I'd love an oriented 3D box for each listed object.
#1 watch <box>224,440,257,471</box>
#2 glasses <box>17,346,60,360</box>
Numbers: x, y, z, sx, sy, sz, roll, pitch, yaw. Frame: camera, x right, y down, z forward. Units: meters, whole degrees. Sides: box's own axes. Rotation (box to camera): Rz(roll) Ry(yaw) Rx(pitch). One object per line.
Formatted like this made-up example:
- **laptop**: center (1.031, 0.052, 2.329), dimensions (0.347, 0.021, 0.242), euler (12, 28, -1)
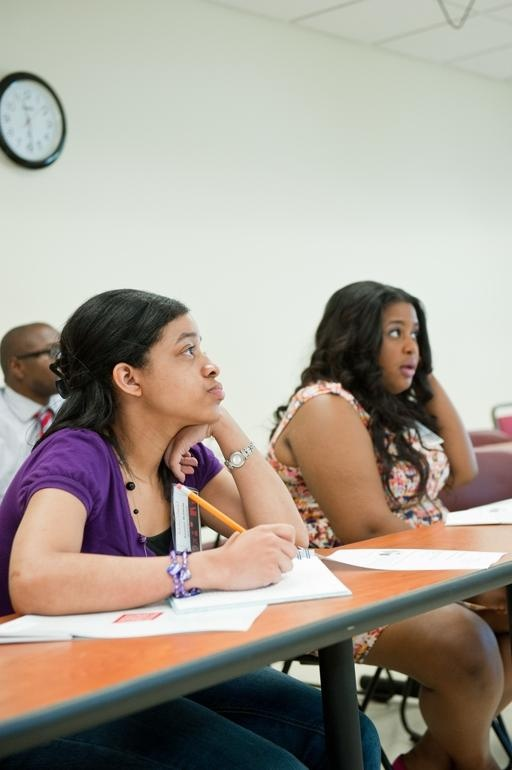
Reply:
- **watch**: center (-0.030, 0.150, 1.378), dimensions (0.064, 0.039, 0.060), euler (-38, 9, -30)
- **glasses**: center (-0.922, -0.135, 2.639), dimensions (0.188, 0.051, 0.183), euler (-2, 3, 25)
